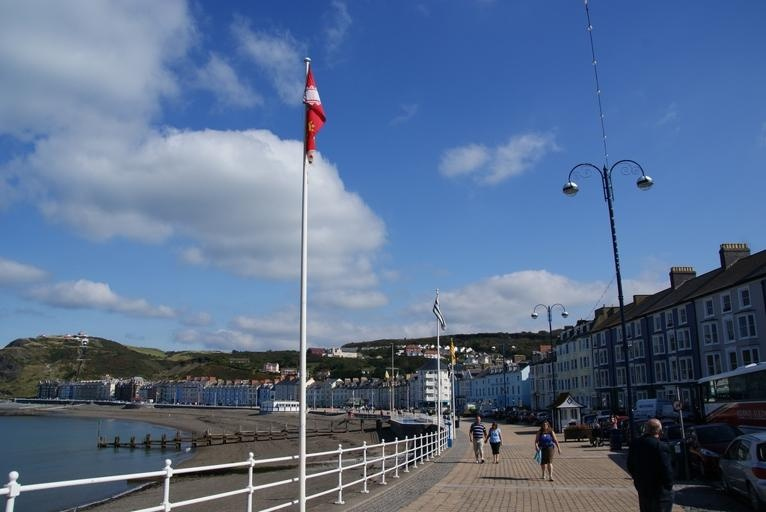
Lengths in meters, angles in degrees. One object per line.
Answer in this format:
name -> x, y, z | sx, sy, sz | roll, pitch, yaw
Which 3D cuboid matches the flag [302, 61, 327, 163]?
flag -> -3.100, -6.307, 28.984 | 0.772, 4.517, 0.983 | -3, -18, 11
